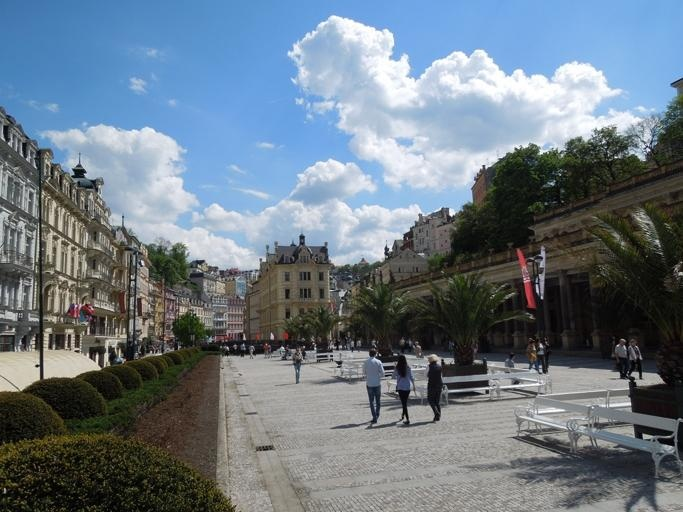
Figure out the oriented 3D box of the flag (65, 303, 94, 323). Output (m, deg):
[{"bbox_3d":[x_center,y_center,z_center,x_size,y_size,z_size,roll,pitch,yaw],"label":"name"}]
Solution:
[{"bbox_3d":[-22.180,4.757,45.275,1.480,2.161,4.461,3,-11,-40],"label":"flag"}]
